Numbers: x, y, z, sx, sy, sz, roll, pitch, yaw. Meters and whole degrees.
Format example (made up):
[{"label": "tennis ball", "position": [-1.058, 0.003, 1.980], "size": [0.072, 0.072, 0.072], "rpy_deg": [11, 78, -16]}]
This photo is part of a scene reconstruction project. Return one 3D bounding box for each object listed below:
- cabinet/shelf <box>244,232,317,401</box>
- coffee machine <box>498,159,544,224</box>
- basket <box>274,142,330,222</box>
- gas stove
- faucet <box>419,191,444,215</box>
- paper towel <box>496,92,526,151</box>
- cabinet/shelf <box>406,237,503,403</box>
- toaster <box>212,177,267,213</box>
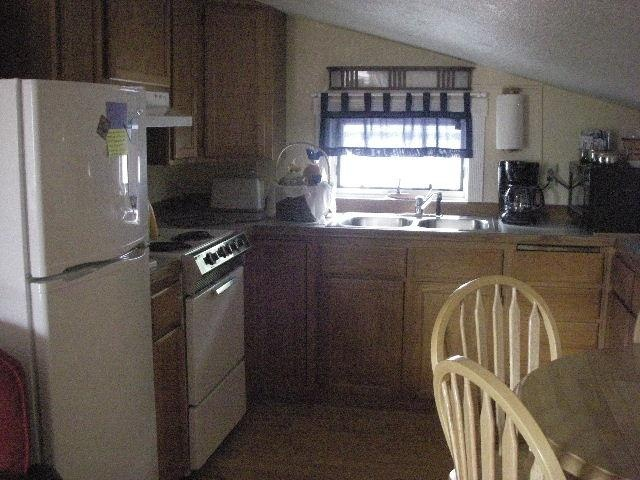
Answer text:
[{"label": "cabinet/shelf", "position": [-0.260, 0.465, 3.245], "size": [0.372, 0.957, 0.122], "rpy_deg": [0, 13, -3]}, {"label": "coffee machine", "position": [1.242, -0.314, 3.371], "size": [0.237, 0.448, 0.268], "rpy_deg": [5, 13, 10]}, {"label": "basket", "position": [-0.007, -0.385, 3.512], "size": [0.403, 0.546, 0.518], "rpy_deg": [1, 11, 3]}, {"label": "gas stove", "position": [-0.634, 0.083, 2.694], "size": [0.417, 0.185, 0.583], "rpy_deg": [-1, 12, 20]}, {"label": "faucet", "position": [0.740, -0.256, 3.626], "size": [0.150, 0.159, 0.282], "rpy_deg": [4, 15, 14]}, {"label": "paper towel", "position": [1.229, -0.774, 3.504], "size": [0.158, 0.403, 0.153], "rpy_deg": [1, 6, 10]}, {"label": "cabinet/shelf", "position": [0.781, 0.423, 3.308], "size": [0.536, 0.861, 0.519], "rpy_deg": [4, 11, 8]}, {"label": "toaster", "position": [-0.556, -0.311, 3.715], "size": [0.351, 0.235, 0.199], "rpy_deg": [2, 6, 8]}]
